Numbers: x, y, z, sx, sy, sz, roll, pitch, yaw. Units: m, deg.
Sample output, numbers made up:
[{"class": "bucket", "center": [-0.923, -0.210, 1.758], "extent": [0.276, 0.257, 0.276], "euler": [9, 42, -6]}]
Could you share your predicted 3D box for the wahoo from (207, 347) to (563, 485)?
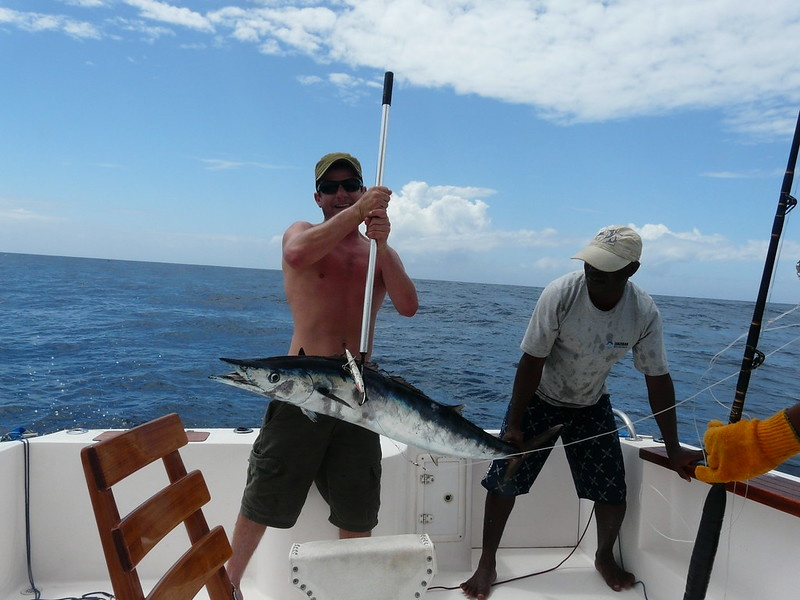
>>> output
[{"class": "wahoo", "center": [-0.083, 0.584, 3.082], "extent": [1.772, 0.400, 0.571], "euler": [17, -37, -4]}]

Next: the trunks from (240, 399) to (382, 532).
[{"class": "trunks", "center": [-0.507, 1.007, 3.490], "extent": [0.825, 0.740, 0.425], "euler": [14, -15, -12]}]

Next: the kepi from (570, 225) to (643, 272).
[{"class": "kepi", "center": [1.339, -0.340, 3.775], "extent": [0.400, 0.302, 0.295], "euler": [-3, 10, -34]}]

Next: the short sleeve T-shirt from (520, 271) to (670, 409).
[{"class": "short sleeve T-shirt", "center": [1.301, 0.279, 3.962], "extent": [0.975, 0.930, 0.226], "euler": [2, 9, 0]}]

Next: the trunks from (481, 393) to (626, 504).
[{"class": "trunks", "center": [1.088, 0.931, 4.140], "extent": [1.019, 0.889, 0.368], "euler": [2, 2, 6]}]
